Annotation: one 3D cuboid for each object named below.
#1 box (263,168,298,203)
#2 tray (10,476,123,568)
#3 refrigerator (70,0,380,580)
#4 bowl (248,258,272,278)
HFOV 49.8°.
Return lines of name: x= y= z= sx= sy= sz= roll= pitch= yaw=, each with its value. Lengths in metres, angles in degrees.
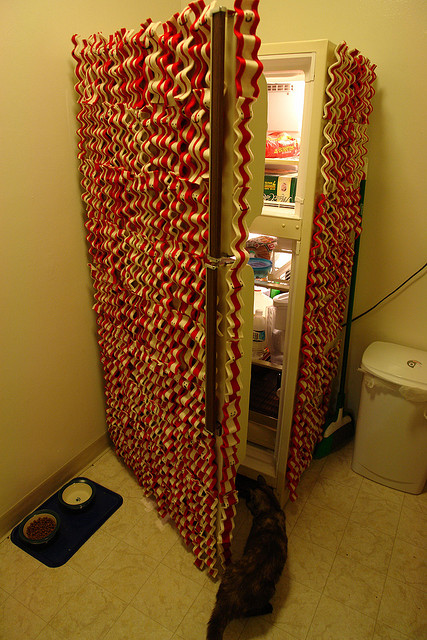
box: x=0.231 y=-0.456 z=1.585 sx=0.086 sy=0.115 sz=0.156 roll=-12 pitch=25 yaw=-41
tray: x=-0.608 y=0.814 z=1.934 sx=0.305 sy=0.076 sz=0.423 roll=11 pitch=22 yaw=27
refrigerator: x=0.081 y=-0.053 z=1.753 sx=0.846 sy=1.864 sz=0.951 roll=-12 pitch=22 yaw=-34
bowl: x=0.186 y=-0.207 z=1.816 sx=0.089 sy=0.059 sz=0.094 roll=0 pitch=24 yaw=0
